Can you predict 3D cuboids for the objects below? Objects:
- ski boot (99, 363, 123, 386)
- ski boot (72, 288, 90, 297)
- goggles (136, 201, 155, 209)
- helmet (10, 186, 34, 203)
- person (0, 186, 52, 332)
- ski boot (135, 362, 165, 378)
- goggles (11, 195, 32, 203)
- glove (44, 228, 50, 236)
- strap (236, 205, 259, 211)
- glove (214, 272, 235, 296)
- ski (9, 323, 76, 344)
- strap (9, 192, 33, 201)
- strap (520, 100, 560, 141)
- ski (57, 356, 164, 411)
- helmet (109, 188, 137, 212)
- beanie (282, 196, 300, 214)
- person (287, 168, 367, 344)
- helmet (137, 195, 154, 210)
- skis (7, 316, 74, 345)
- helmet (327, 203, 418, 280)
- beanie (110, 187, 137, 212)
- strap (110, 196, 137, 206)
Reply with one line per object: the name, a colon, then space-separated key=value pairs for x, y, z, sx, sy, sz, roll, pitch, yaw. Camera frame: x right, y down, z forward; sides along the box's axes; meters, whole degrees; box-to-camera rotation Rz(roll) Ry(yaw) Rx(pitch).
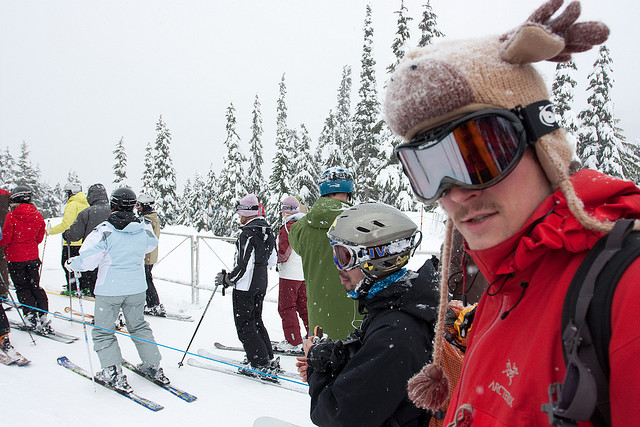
ski boot: x=-2.537 y=1.941 z=5.605 sx=0.344 sy=0.230 sz=0.167 roll=4 pitch=4 yaw=36
ski boot: x=-5.008 y=1.609 z=9.670 sx=0.222 sy=0.092 sz=0.250 roll=-32 pitch=-4 yaw=3
goggles: x=-3.434 y=-0.182 z=8.984 sx=0.274 sy=0.112 sz=0.197 roll=-8 pitch=9 yaw=-19
helmet: x=-5.006 y=-0.333 z=7.723 sx=0.251 sy=0.279 sz=0.310 roll=-11 pitch=18 yaw=-29
person: x=-4.802 y=0.744 z=7.510 sx=0.711 sy=2.365 sz=1.277 roll=-1 pitch=4 yaw=-30
ski boot: x=-2.173 y=2.005 z=5.860 sx=0.284 sy=0.209 sz=0.096 roll=24 pitch=-7 yaw=27
goggles: x=-4.985 y=-0.237 z=7.682 sx=0.175 sy=0.094 sz=0.158 roll=-9 pitch=-2 yaw=1
glove: x=-5.165 y=0.348 z=8.679 sx=0.077 sy=0.214 sz=0.155 roll=6 pitch=2 yaw=-28
strap: x=-1.025 y=-0.086 z=6.613 sx=0.308 sy=0.077 sz=0.120 roll=1 pitch=3 yaw=-8
glove: x=-1.286 y=0.922 z=6.170 sx=0.101 sy=0.323 sz=0.307 roll=-5 pitch=3 yaw=-41
ski: x=-4.458 y=1.917 z=7.305 sx=1.475 sy=0.083 sz=0.179 roll=13 pitch=4 yaw=18
strap: x=-5.010 y=-0.317 z=7.667 sx=0.194 sy=0.073 sz=0.181 roll=-7 pitch=6 yaw=18
strap: x=0.932 y=-0.393 z=1.937 sx=0.156 sy=0.173 sz=0.054 roll=0 pitch=3 yaw=-16
ski: x=-2.525 y=2.089 z=5.570 sx=1.715 sy=0.091 sz=0.187 roll=13 pitch=14 yaw=29
helmet: x=-2.528 y=-0.175 z=5.909 sx=0.229 sy=0.271 sz=0.265 roll=-7 pitch=31 yaw=-36
beanie: x=-0.459 y=-0.138 z=7.616 sx=0.217 sy=0.256 sz=0.298 roll=0 pitch=26 yaw=-4
person: x=0.229 y=0.703 z=5.016 sx=0.955 sy=2.276 sz=0.782 roll=-1 pitch=18 yaw=13
helmet: x=-3.364 y=-0.238 z=8.928 sx=0.230 sy=0.273 sz=0.304 roll=12 pitch=21 yaw=24
skis: x=-4.467 y=1.882 z=7.322 sx=1.319 sy=0.071 sz=0.159 roll=23 pitch=21 yaw=14
helmet: x=0.383 y=0.202 z=3.424 sx=0.655 sy=0.530 sz=0.490 roll=-4 pitch=3 yaw=-17
beanie: x=-2.529 y=-0.173 z=5.910 sx=0.250 sy=0.309 sz=0.302 roll=0 pitch=19 yaw=-28
strap: x=-2.586 y=-0.169 z=6.057 sx=0.309 sy=0.120 sz=0.152 roll=-1 pitch=4 yaw=-32
